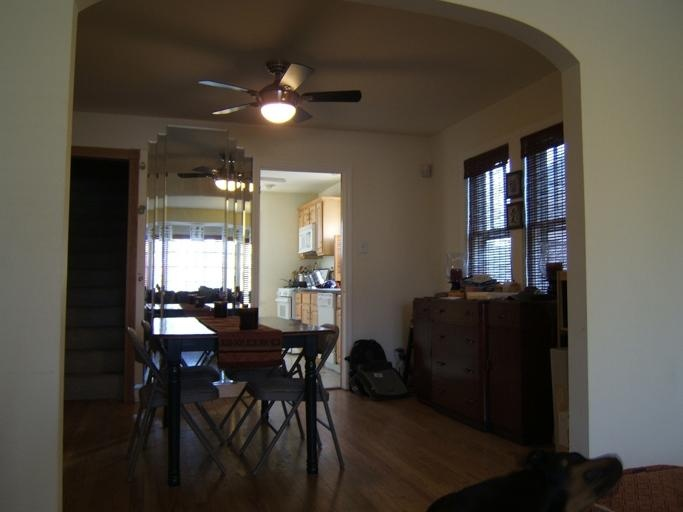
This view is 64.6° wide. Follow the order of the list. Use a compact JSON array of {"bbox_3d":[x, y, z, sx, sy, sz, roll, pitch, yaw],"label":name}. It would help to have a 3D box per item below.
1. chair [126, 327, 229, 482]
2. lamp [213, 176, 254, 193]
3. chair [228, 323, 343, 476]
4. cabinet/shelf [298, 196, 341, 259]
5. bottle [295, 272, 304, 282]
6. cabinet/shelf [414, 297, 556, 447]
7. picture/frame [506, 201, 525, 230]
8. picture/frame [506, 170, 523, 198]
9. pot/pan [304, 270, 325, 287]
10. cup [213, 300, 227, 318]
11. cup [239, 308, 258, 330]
[{"bbox_3d":[-1.143,0.995,4.079,0.942,1.370,0.823,0,-1,-15],"label":"chair"},{"bbox_3d":[-1.138,-0.740,5.635,0.306,0.159,0.174,4,-2,-11],"label":"lamp"},{"bbox_3d":[-0.429,0.963,4.191,0.960,1.361,0.817,7,-3,-19],"label":"chair"},{"bbox_3d":[-0.337,-0.442,8.639,0.275,0.663,1.025,1,-2,-12],"label":"cabinet/shelf"},{"bbox_3d":[-0.707,0.349,9.053,0.166,0.173,0.110,0,-2,14],"label":"bottle"},{"bbox_3d":[1.188,0.902,4.720,0.504,1.043,1.404,1,-1,-30],"label":"cabinet/shelf"},{"bbox_3d":[1.554,-0.362,4.782,0.029,0.295,0.246,2,0,-19],"label":"picture/frame"},{"bbox_3d":[1.549,-0.644,4.801,0.022,0.285,0.250,2,-1,-18],"label":"picture/frame"},{"bbox_3d":[-0.428,0.351,8.434,0.224,0.240,0.904,0,0,-11],"label":"pot/pan"},{"bbox_3d":[-0.954,0.429,4.310,0.096,0.149,0.113,1,2,-2],"label":"cup"},{"bbox_3d":[-0.608,0.404,3.515,0.117,0.127,0.185,0,0,-11],"label":"cup"}]
